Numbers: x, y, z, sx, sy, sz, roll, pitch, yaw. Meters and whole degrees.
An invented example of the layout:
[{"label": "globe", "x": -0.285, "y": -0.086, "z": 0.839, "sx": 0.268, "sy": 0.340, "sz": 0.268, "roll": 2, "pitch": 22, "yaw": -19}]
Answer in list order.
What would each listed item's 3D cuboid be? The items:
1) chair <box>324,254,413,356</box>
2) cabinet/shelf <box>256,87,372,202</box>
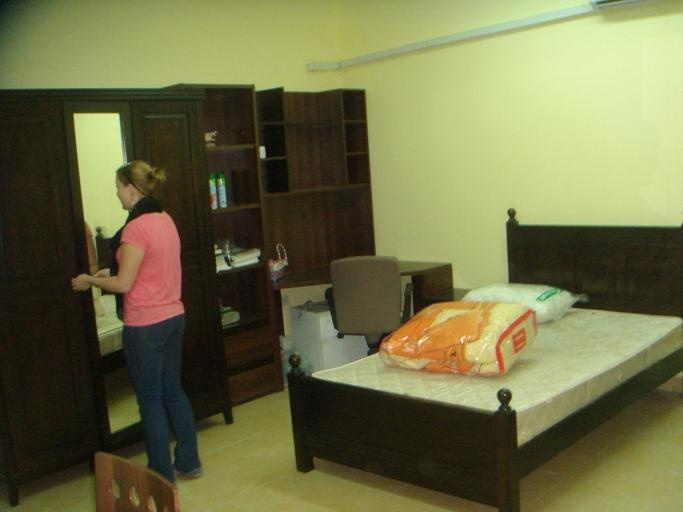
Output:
[{"label": "chair", "x": 0.192, "y": 0.482, "z": 4.839, "sx": 0.639, "sy": 0.847, "sz": 0.511, "roll": -1, "pitch": -11, "yaw": -14}, {"label": "cabinet/shelf", "x": -0.330, "y": -1.093, "z": 5.844, "sx": 1.235, "sy": 0.993, "sz": 0.395, "roll": -10, "pitch": 14, "yaw": -32}]
